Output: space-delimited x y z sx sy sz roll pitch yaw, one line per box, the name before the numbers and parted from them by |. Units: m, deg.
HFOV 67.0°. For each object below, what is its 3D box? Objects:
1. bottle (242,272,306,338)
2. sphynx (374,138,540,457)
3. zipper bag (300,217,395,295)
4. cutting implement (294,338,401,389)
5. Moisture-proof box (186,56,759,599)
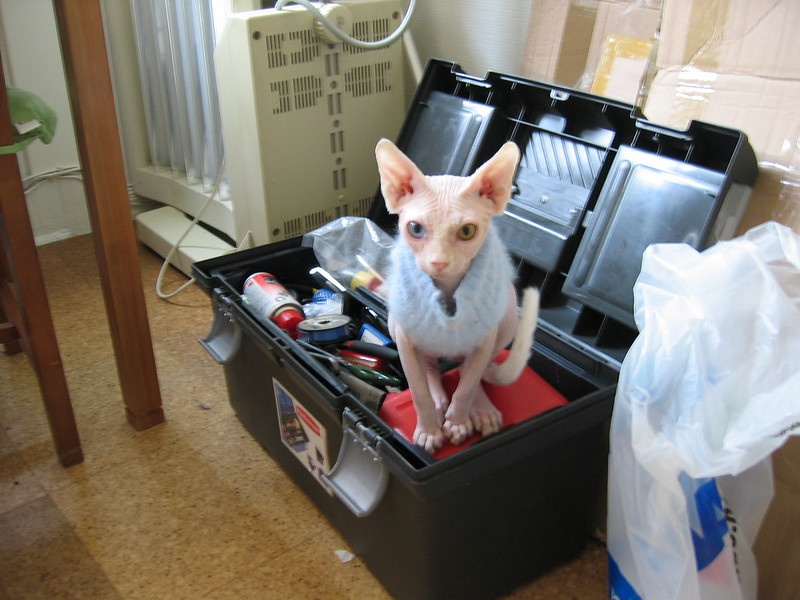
bottle | -0.260 0.012 1.222 0.056 0.074 0.136 -21 44 -24
sphynx | 0.098 -0.048 1.004 0.233 0.510 0.362 9 36 18
zipper bag | -0.124 -0.113 1.409 0.181 0.073 0.193 32 52 2
cutting implement | -0.095 0.118 1.104 0.123 0.026 0.039 29 16 -3
Moisture-proof box | 0.106 0.127 1.397 0.899 0.946 1.035 -16 38 -26
